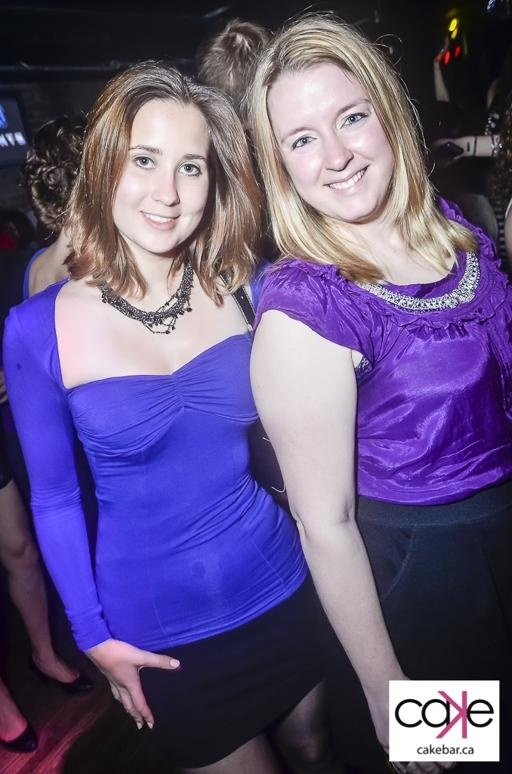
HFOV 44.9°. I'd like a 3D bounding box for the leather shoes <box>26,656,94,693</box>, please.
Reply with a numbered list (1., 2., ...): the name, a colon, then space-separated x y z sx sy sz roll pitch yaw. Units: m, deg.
1. leather shoes: -0.822 1.213 2.580 0.292 0.085 0.103 20 0 13
